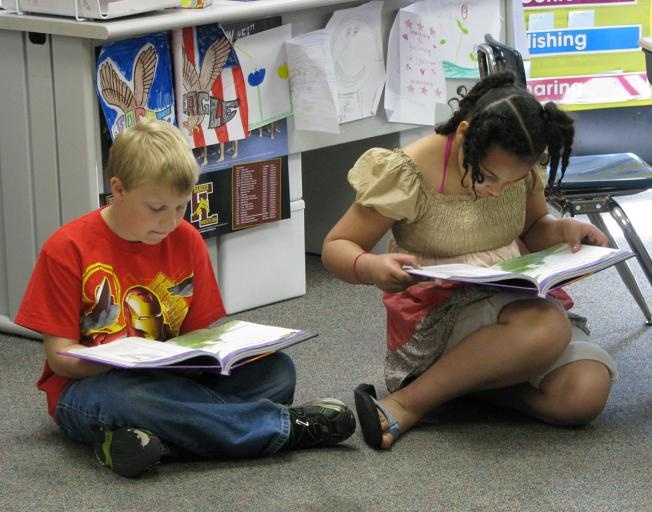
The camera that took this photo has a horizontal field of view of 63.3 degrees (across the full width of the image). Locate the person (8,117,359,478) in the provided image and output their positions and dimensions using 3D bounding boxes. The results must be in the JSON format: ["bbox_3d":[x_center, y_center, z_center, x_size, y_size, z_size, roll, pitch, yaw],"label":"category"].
[{"bbox_3d":[-0.301,0.039,1.221,0.744,0.693,0.525,6,9,32],"label":"person"}]

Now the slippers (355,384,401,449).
[{"bbox_3d":[0.106,0.305,1.033,0.040,0.125,0.065,-25,-3,-35],"label":"slippers"}]

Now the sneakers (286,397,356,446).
[{"bbox_3d":[-0.006,0.313,0.983,0.141,0.062,0.054,-2,13,5],"label":"sneakers"}]

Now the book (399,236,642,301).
[{"bbox_3d":[0.374,0.029,1.031,0.492,0.066,0.192,-6,12,-32],"label":"book"}]

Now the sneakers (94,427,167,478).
[{"bbox_3d":[-0.325,0.316,0.914,0.130,0.071,0.051,20,15,25],"label":"sneakers"}]
